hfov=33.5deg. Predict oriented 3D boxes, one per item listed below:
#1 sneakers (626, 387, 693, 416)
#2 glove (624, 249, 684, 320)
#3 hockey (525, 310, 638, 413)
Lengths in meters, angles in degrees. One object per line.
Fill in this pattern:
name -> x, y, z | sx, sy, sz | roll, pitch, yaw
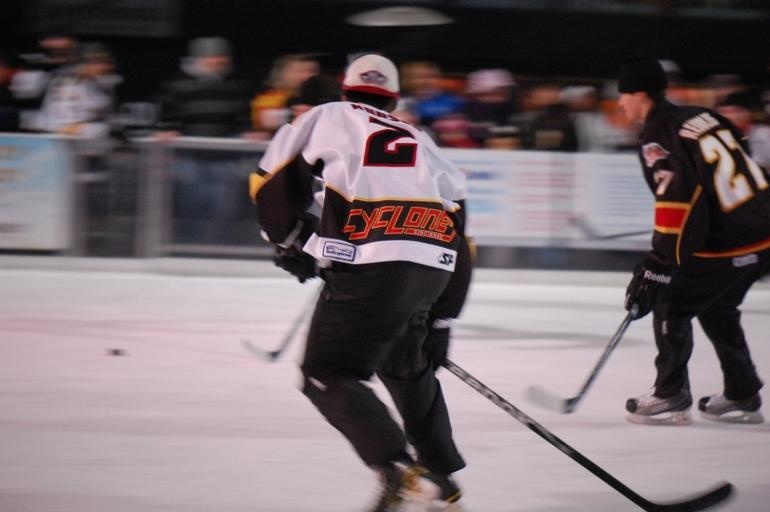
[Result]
sneakers -> 1.692, 0.916, 7.941 | 0.516, 0.141, 0.145 | 1, -9, -1
glove -> 1.600, 0.184, 7.887 | 0.249, 0.390, 0.117 | -6, 19, -19
hockey -> 1.292, 0.725, 8.554 | 1.013, 0.178, 0.134 | -36, 47, -22
